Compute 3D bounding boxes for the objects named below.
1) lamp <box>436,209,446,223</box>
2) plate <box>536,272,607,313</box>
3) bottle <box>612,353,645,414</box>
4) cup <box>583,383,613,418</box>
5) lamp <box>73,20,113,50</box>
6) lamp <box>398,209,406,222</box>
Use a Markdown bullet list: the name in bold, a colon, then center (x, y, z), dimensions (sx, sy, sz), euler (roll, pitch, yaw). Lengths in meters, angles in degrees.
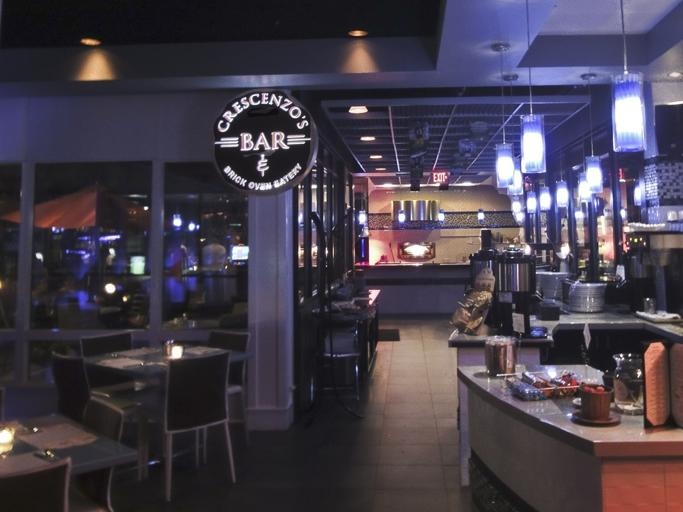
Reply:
- **lamp**: center (2.696, -1.104, 17.503), dimensions (0.253, 0.507, 0.336), euler (-3, 6, -10)
- **plate**: center (2.620, 0.399, 7.170), dimensions (0.628, 0.238, 0.464), euler (0, 0, 8)
- **bottle**: center (1.838, 0.793, 4.068), dimensions (0.148, 0.369, 0.212), euler (-1, 8, -4)
- **cup**: center (1.579, 0.890, 3.942), dimensions (0.164, 0.146, 0.187), euler (0, -8, 11)
- **lamp**: center (-2.453, -2.185, 6.330), dimensions (0.391, 0.198, 0.431), euler (-3, 9, -19)
- **lamp**: center (1.619, -1.079, 17.032), dimensions (0.222, 0.389, 0.258), euler (-1, 1, -14)
